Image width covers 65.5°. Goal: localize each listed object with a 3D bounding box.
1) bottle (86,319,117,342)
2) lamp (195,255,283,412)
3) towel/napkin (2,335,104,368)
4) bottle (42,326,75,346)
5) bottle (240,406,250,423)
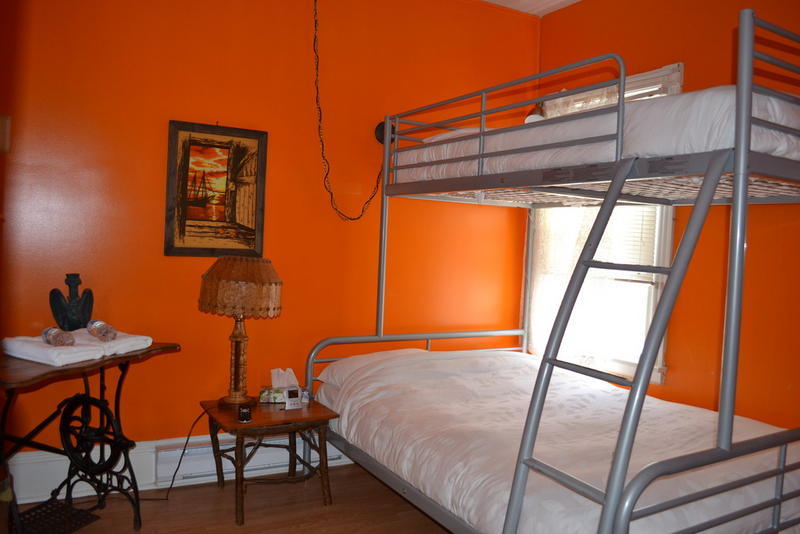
[{"bbox_3d":[-1.848,0.388,3.850,0.173,0.080,0.107,23,4,41],"label":"bottle"},{"bbox_3d":[-1.065,0.415,4.125,0.522,0.967,0.275,1,11,-17],"label":"lamp"},{"bbox_3d":[-2.040,0.472,3.660,0.526,0.100,0.363,8,10,26],"label":"towel/napkin"},{"bbox_3d":[-2.013,0.396,3.647,0.110,0.044,0.145,-4,11,-42],"label":"bottle"},{"bbox_3d":[-0.971,0.946,3.961,0.081,0.072,0.078,0,-3,5],"label":"bottle"}]
